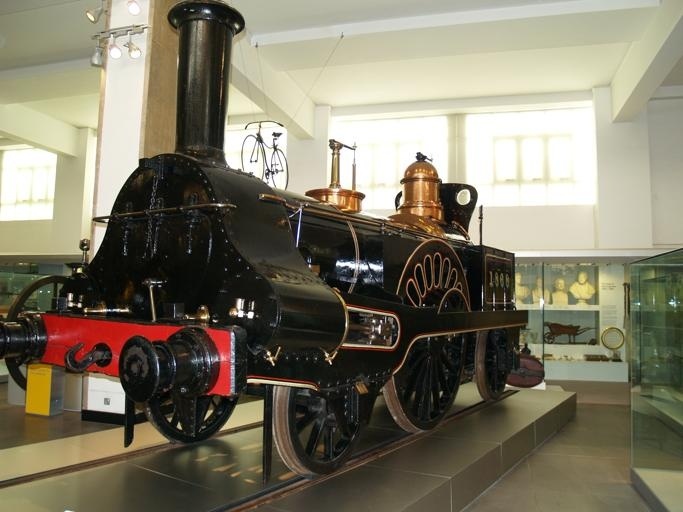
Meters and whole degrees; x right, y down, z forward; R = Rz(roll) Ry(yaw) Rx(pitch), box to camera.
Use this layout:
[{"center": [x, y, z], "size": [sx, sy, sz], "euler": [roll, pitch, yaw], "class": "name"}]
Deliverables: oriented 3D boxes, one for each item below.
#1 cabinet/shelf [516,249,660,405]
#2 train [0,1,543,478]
[{"center": [4.415, 1.297, 10.081], "size": [2.678, 2.607, 0.980], "euler": [0, -1, 10], "class": "cabinet/shelf"}, {"center": [-0.169, 0.261, 7.307], "size": [3.070, 4.017, 7.499], "euler": [0, 1, 34], "class": "train"}]
